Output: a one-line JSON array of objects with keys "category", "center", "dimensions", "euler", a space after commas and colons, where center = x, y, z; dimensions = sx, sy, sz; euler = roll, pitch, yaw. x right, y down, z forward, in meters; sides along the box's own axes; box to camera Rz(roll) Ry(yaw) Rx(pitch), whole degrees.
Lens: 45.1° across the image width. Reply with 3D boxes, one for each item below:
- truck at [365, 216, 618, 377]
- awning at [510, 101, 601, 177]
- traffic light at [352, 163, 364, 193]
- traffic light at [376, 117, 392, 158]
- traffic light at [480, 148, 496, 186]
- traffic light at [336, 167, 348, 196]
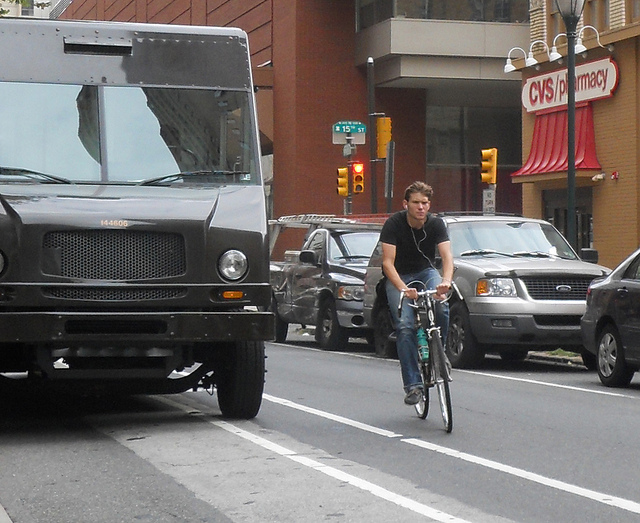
[{"category": "truck", "center": [2.890, 0.424, 12.271], "dimensions": [2.073, 1.813, 3.722], "euler": [1, -6, -19]}, {"category": "awning", "center": [8.506, -4.343, 27.125], "dimensions": [1.135, 2.475, 3.045], "euler": [-3, 5, -23]}, {"category": "traffic light", "center": [1.205, -2.731, 24.708], "dimensions": [0.331, 0.939, 0.643], "euler": [-1, 5, 0]}, {"category": "traffic light", "center": [2.001, -3.878, 23.692], "dimensions": [0.369, 1.270, 1.216], "euler": [-1, 5, -4]}, {"category": "traffic light", "center": [4.956, -2.790, 22.493], "dimensions": [0.403, 1.103, 1.182], "euler": [0, 5, 12]}, {"category": "traffic light", "center": [0.748, -2.669, 25.407], "dimensions": [0.333, 0.813, 0.378], "euler": [-1, 4, 4]}]
